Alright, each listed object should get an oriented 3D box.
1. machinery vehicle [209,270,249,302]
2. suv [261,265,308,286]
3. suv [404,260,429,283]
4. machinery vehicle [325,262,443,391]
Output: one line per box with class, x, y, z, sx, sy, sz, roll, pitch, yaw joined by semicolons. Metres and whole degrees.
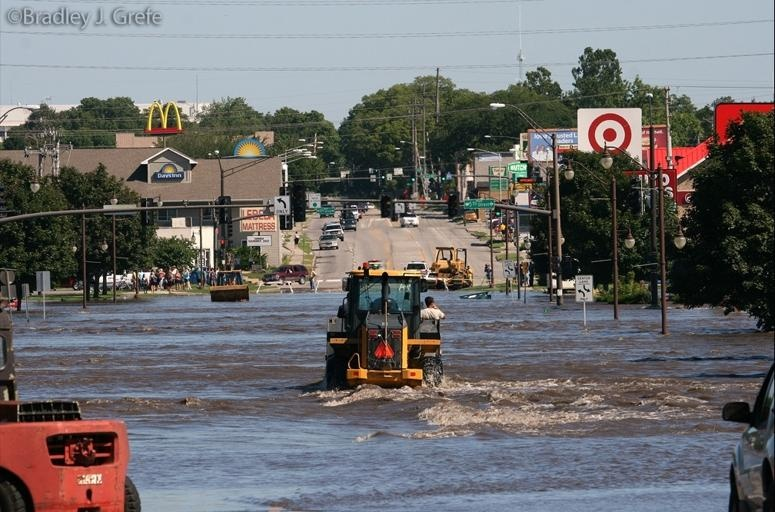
machinery vehicle;-11.305;2.176;146.366;1.980;1.869;3.869;0;2;-2
suv;-8.257;1.474;166.299;2.979;1.271;1.725;2;-2;-15
suv;1.641;0.852;122.728;1.347;1.245;2.781;1;8;2
machinery vehicle;-0.055;3.145;92.121;4.466;5.640;1.375;-3;0;-9
